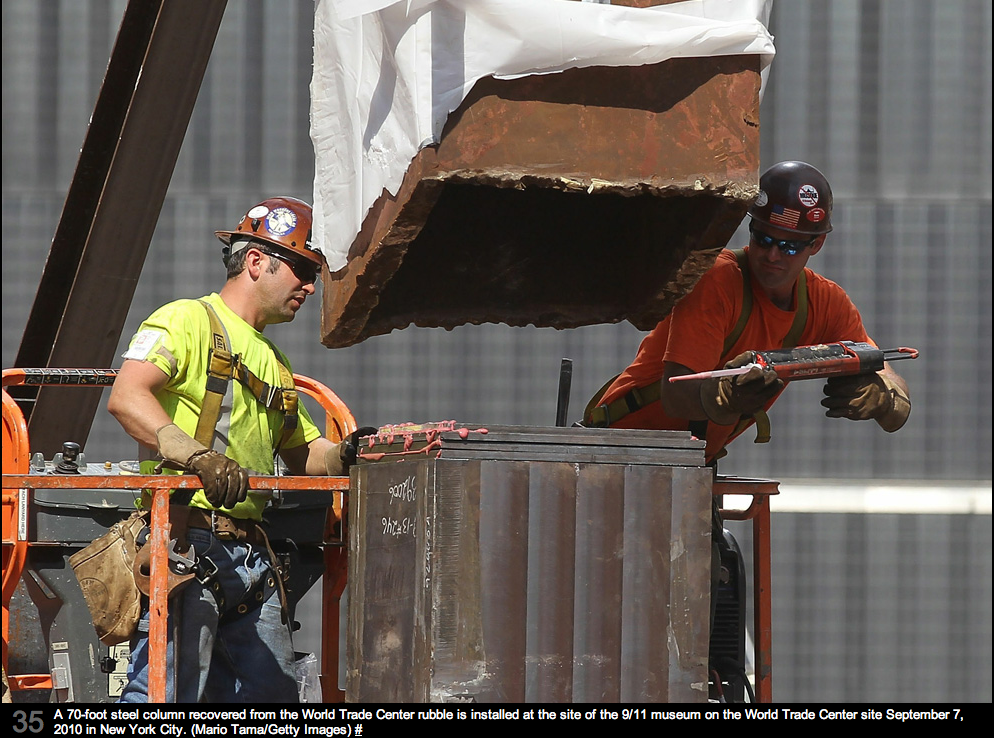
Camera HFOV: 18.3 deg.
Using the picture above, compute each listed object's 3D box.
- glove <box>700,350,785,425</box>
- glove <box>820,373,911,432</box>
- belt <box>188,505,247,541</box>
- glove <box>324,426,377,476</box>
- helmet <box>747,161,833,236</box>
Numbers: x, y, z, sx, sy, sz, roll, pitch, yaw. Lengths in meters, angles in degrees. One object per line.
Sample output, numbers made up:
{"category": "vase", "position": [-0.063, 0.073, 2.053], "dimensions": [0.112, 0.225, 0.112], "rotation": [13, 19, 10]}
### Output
{"category": "glove", "position": [1.473, 0.132, 18.740], "dimensions": [0.470, 0.231, 0.347], "rotation": [1, 33, 45]}
{"category": "glove", "position": [2.289, 0.202, 19.138], "dimensions": [0.490, 0.164, 0.355], "rotation": [3, 5, 3]}
{"category": "belt", "position": [-1.721, 0.957, 19.009], "dimensions": [0.257, 0.093, 0.192], "rotation": [19, -1, 10]}
{"category": "glove", "position": [-0.910, 0.499, 19.109], "dimensions": [0.154, 0.262, 0.335], "rotation": [17, -16, -17]}
{"category": "helmet", "position": [1.833, -1.018, 19.243], "dimensions": [0.449, 0.329, 0.483], "rotation": [18, 16, 8]}
